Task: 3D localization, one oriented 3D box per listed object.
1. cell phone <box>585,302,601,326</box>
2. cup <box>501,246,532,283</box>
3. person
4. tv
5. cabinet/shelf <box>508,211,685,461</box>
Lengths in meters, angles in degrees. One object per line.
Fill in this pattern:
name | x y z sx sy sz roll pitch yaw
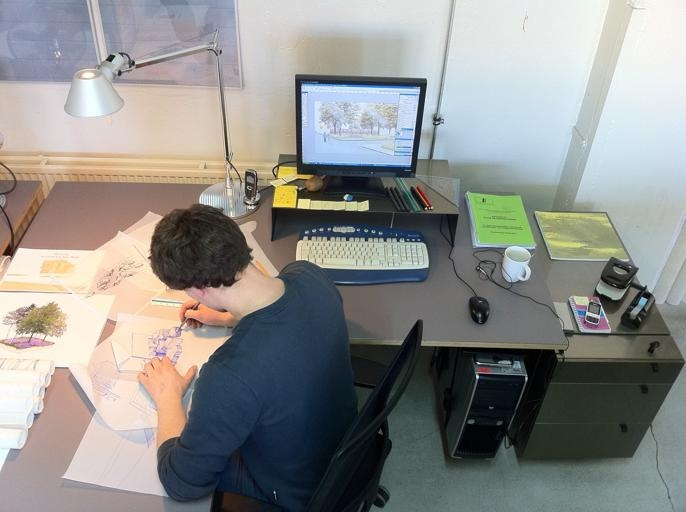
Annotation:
cell phone | 1.029 0.236 2.050 0.051 0.029 0.095 11 58 13
cup | 0.718 0.036 2.118 0.098 0.119 0.162 1 41 6
person | -0.300 0.348 1.510 0.432 0.802 0.498 28 59 13
tv | 0.064 -0.503 2.126 0.596 0.539 0.212 1 45 1
cabinet/shelf | 0.952 0.328 2.390 0.567 0.802 1.086 0 49 4
